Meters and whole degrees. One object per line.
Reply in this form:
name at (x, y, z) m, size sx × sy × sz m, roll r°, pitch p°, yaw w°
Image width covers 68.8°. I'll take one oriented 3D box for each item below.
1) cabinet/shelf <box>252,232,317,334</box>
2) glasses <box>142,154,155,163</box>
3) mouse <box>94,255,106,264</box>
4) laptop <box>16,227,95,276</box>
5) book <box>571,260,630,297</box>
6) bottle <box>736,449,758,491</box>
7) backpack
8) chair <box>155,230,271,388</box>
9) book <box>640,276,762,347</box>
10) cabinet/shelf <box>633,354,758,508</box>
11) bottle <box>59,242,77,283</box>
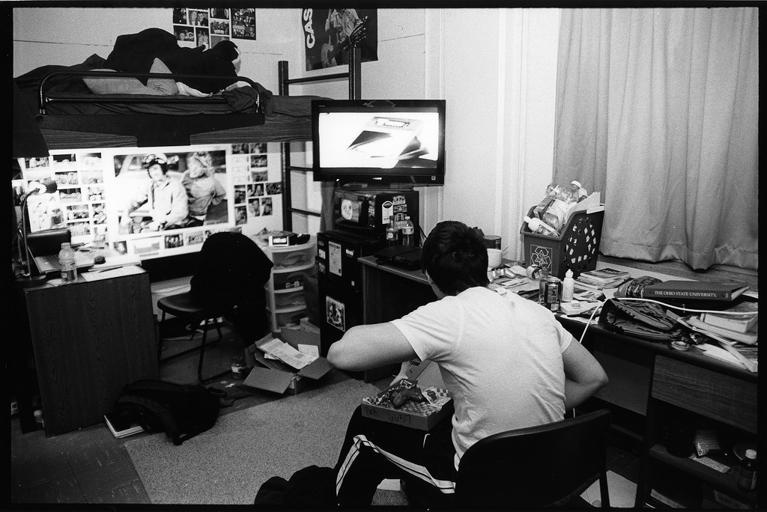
cabinet/shelf at (-0.689, 0.300, 4.898) m, size 0.740 × 0.708 × 0.570 m, roll 0°, pitch 6°, yaw 4°
glasses at (-1.880, -0.785, 4.487) m, size 0.069 × 0.065 × 0.019 m, roll -15°, pitch 26°, yaw -34°
mouse at (-2.100, 0.023, 4.148) m, size 0.100 × 0.047 × 0.127 m, roll -9°, pitch 16°, yaw -43°
laptop at (-2.223, -0.020, 3.752) m, size 0.402 × 0.088 × 0.364 m, roll -21°, pitch 42°, yaw -37°
book at (1.235, 0.130, 3.133) m, size 0.198 × 0.045 × 0.191 m, roll -14°, pitch 20°, yaw -24°
bottle at (1.621, 0.926, 2.479) m, size 0.060 × 0.163 × 0.147 m, roll 6°, pitch 15°, yaw 34°
backpack at (-1.341, 0.937, 3.519) m, size 0.440 × 0.184 × 0.415 m, roll 12°, pitch 10°, yaw 4°
chair at (-1.332, 0.352, 4.331) m, size 0.676 × 0.950 × 0.688 m, roll -13°, pitch 16°, yaw -41°
book at (1.539, 0.237, 2.662) m, size 0.316 × 0.209 × 0.492 m, roll -12°, pitch 15°, yaw -40°
cabinet/shelf at (1.453, 0.840, 2.555) m, size 0.457 × 0.805 × 0.229 m, roll 9°, pitch 17°, yaw 42°
bottle at (-1.997, 0.033, 3.534) m, size 0.094 × 0.221 × 0.223 m, roll -10°, pitch 14°, yaw -29°
